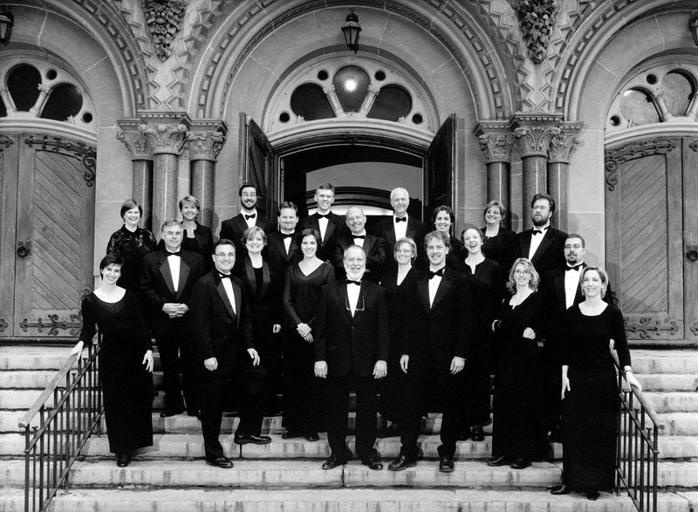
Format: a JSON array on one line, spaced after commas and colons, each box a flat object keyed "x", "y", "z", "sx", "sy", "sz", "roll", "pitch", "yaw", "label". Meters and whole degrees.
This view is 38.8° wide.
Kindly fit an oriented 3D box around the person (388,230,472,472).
[{"x": 1.036, "y": 1.190, "z": 12.253, "sx": 0.890, "sy": 2.923, "sz": 0.625, "roll": 1, "pitch": -11, "yaw": 3, "label": "person"}]

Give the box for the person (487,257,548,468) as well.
[{"x": 2.055, "y": 1.335, "z": 12.267, "sx": 0.633, "sy": 2.551, "sz": 0.573, "roll": 0, "pitch": -12, "yaw": 8, "label": "person"}]

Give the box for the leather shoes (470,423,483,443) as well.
[{"x": 1.630, "y": 2.276, "z": 12.701, "sx": 0.201, "sy": 0.197, "sz": 0.206, "roll": 1, "pitch": 0, "yaw": -26, "label": "leather shoes"}]

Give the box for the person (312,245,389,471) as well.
[{"x": 0.047, "y": 1.276, "z": 12.260, "sx": 0.795, "sy": 2.710, "sz": 0.733, "roll": -5, "pitch": -13, "yaw": 30, "label": "person"}]

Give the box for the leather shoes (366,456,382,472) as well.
[{"x": 0.318, "y": 2.560, "z": 12.177, "sx": 0.111, "sy": 0.088, "sz": 0.213, "roll": 3, "pitch": -8, "yaw": -27, "label": "leather shoes"}]

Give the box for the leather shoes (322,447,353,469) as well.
[{"x": -0.131, "y": 2.496, "z": 12.275, "sx": 0.469, "sy": 0.191, "sz": 0.166, "roll": -15, "pitch": 7, "yaw": -32, "label": "leather shoes"}]

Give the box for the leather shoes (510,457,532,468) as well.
[{"x": 2.099, "y": 2.561, "z": 12.206, "sx": 0.236, "sy": 0.092, "sz": 0.108, "roll": 4, "pitch": -8, "yaw": -22, "label": "leather shoes"}]

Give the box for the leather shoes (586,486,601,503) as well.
[{"x": 2.884, "y": 2.847, "z": 11.833, "sx": 0.143, "sy": 0.152, "sz": 0.085, "roll": -1, "pitch": -12, "yaw": 12, "label": "leather shoes"}]

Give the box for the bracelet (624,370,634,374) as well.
[{"x": 3.294, "y": 1.369, "z": 11.722, "sx": 0.124, "sy": 0.043, "sz": 0.061, "roll": 9, "pitch": -14, "yaw": -35, "label": "bracelet"}]

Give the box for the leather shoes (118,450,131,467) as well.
[{"x": -2.755, "y": 2.524, "z": 12.298, "sx": 0.108, "sy": 0.203, "sz": 0.081, "roll": 2, "pitch": -8, "yaw": -8, "label": "leather shoes"}]

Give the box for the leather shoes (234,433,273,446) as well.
[{"x": -1.204, "y": 2.331, "z": 12.649, "sx": 0.504, "sy": 0.215, "sz": 0.169, "roll": 0, "pitch": -6, "yaw": -5, "label": "leather shoes"}]

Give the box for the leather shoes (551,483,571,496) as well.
[{"x": 2.534, "y": 2.838, "z": 11.966, "sx": 0.273, "sy": 0.176, "sz": 0.093, "roll": -1, "pitch": -3, "yaw": 15, "label": "leather shoes"}]

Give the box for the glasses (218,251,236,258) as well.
[{"x": -1.485, "y": -0.017, "z": 12.256, "sx": 0.188, "sy": 0.076, "sz": 0.050, "roll": 7, "pitch": -13, "yaw": -27, "label": "glasses"}]

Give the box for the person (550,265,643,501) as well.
[{"x": 2.902, "y": 1.530, "z": 11.908, "sx": 0.875, "sy": 2.752, "sz": 0.681, "roll": -1, "pitch": -12, "yaw": 11, "label": "person"}]

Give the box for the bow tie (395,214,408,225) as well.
[{"x": 0.710, "y": -0.504, "z": 13.419, "sx": 0.150, "sy": 0.102, "sz": 0.021, "roll": 0, "pitch": 20, "yaw": 4, "label": "bow tie"}]

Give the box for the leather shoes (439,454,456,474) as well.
[{"x": 1.216, "y": 2.575, "z": 12.243, "sx": 0.232, "sy": 0.208, "sz": 0.126, "roll": 5, "pitch": -12, "yaw": -17, "label": "leather shoes"}]

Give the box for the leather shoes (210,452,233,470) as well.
[{"x": -1.558, "y": 2.565, "z": 12.299, "sx": 0.262, "sy": 0.107, "sz": 0.139, "roll": -2, "pitch": -4, "yaw": 16, "label": "leather shoes"}]

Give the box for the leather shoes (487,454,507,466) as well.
[{"x": 1.833, "y": 2.550, "z": 12.278, "sx": 0.277, "sy": 0.114, "sz": 0.098, "roll": 1, "pitch": -8, "yaw": 12, "label": "leather shoes"}]

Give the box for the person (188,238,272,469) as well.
[{"x": -1.455, "y": 1.247, "z": 12.409, "sx": 0.642, "sy": 2.780, "sz": 0.938, "roll": -5, "pitch": -13, "yaw": 29, "label": "person"}]

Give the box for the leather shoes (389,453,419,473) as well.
[{"x": 0.672, "y": 2.549, "z": 12.215, "sx": 0.391, "sy": 0.220, "sz": 0.165, "roll": 2, "pitch": -5, "yaw": -15, "label": "leather shoes"}]
